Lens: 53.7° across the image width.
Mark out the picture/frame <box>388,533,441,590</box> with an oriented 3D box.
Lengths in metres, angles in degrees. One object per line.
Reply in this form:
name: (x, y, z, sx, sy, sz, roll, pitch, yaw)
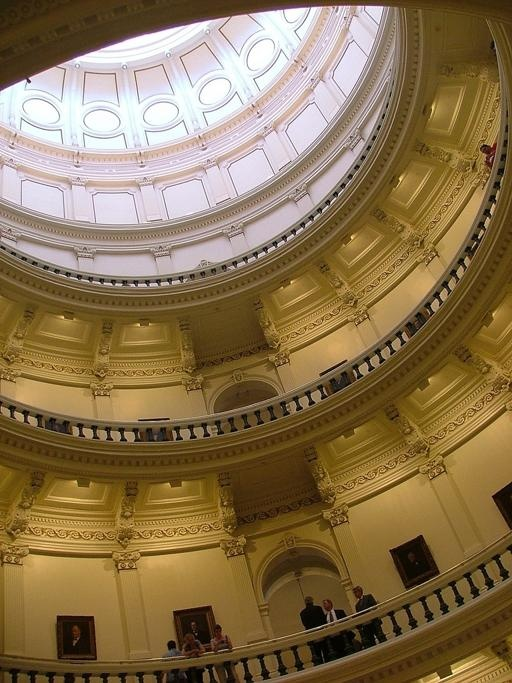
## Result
picture/frame: (3.541, 5.003, 11.548, 0.991, 0.935, 1.008, -26, -33, 16)
